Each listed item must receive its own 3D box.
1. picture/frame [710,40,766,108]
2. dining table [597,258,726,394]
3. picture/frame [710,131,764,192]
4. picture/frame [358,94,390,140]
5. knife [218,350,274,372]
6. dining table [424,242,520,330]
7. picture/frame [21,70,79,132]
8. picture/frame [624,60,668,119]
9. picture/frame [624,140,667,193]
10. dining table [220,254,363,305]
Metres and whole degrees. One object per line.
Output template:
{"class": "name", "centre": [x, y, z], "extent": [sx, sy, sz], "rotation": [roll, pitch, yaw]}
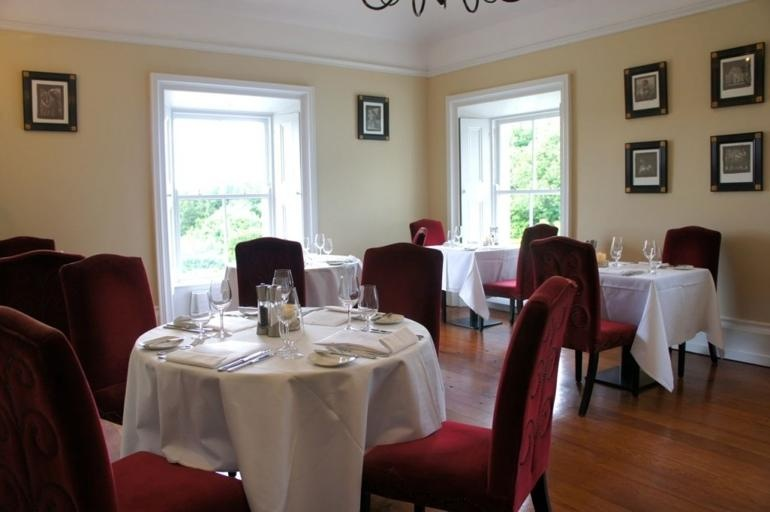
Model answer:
{"class": "picture/frame", "centre": [3.149, -1.614, 4.886], "extent": [0.435, 0.524, 0.162], "rotation": [7, 15, 30]}
{"class": "dining table", "centre": [2.191, 0.402, 4.273], "extent": [0.952, 0.688, 0.943], "rotation": [-6, 9, -37]}
{"class": "picture/frame", "centre": [3.181, -0.860, 4.917], "extent": [0.070, 0.749, 0.526], "rotation": [-3, 4, -43]}
{"class": "picture/frame", "centre": [-0.164, -1.792, 6.997], "extent": [0.578, 0.641, 0.058], "rotation": [-3, 6, -41]}
{"class": "knife", "centre": [-0.636, 0.482, 2.524], "extent": [0.075, 0.014, 0.253], "rotation": [13, 13, 23]}
{"class": "dining table", "centre": [1.020, 0.286, 5.989], "extent": [0.800, 0.521, 0.914], "rotation": [0, 2, -37]}
{"class": "picture/frame", "centre": [-3.247, -1.506, 5.265], "extent": [0.586, 0.760, 0.052], "rotation": [-2, 3, -34]}
{"class": "picture/frame", "centre": [2.603, -1.661, 5.426], "extent": [0.047, 0.701, 0.547], "rotation": [-5, 9, -38]}
{"class": "picture/frame", "centre": [2.621, -0.906, 5.467], "extent": [0.064, 0.693, 0.515], "rotation": [-1, 2, -39]}
{"class": "dining table", "centre": [-0.586, 0.231, 5.088], "extent": [0.681, 0.381, 0.707], "rotation": [-1, -1, -1]}
